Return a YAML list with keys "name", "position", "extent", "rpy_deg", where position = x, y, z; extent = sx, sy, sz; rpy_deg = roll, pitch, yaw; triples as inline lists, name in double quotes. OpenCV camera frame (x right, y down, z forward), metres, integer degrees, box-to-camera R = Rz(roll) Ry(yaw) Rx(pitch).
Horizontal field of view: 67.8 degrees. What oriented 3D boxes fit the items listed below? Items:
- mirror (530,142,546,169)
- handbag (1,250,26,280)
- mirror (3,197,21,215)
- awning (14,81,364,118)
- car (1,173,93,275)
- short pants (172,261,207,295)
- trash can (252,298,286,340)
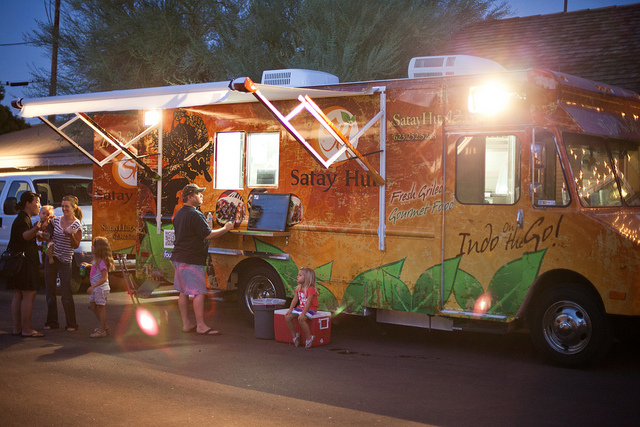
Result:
- name: "mirror"
  position: [3.142, -0.827, 6.907]
  extent: [0.223, 0.374, 0.250]
  rpy_deg: [2, 2, 36]
- name: "handbag"
  position: [-5.232, 0.879, 8.135]
  extent: [0.477, 0.493, 0.157]
  rpy_deg: [2, -12, 28]
- name: "mirror"
  position: [-7.651, -0.166, 11.812]
  extent: [0.388, 0.626, 0.321]
  rpy_deg: [6, 6, 36]
- name: "awning"
  position: [-2.834, -2.033, 8.809]
  extent: [5.918, 0.345, 1.722]
  rpy_deg: [1, 2, 22]
- name: "car"
  position: [-7.365, 0.159, 12.911]
  extent: [2.319, 2.135, 3.874]
  rpy_deg: [2, -4, -38]
- name: "short pants"
  position: [-2.365, 1.172, 8.662]
  extent: [0.623, 0.647, 0.373]
  rpy_deg: [2, 2, 24]
- name: "trash can"
  position: [-0.950, 1.844, 8.400]
  extent: [0.515, 0.693, 0.462]
  rpy_deg: [2, 1, -8]
